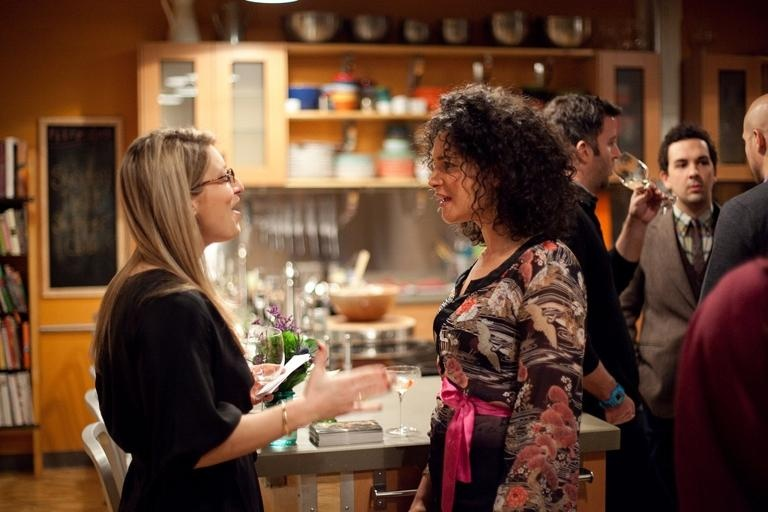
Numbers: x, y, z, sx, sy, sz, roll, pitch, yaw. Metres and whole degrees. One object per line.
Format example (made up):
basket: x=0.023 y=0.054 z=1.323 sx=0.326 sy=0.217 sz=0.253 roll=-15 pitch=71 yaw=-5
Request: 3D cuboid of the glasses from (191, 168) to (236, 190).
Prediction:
glasses: x=-0.580 y=-0.261 z=2.653 sx=0.095 sy=0.029 sz=0.094 roll=-16 pitch=4 yaw=-2

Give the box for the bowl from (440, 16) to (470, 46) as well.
bowl: x=0.512 y=-1.595 z=5.430 sx=0.186 sy=0.175 sz=0.178 roll=0 pitch=-41 yaw=0

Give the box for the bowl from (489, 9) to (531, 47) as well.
bowl: x=0.892 y=-1.610 z=5.406 sx=0.240 sy=0.182 sz=0.218 roll=-7 pitch=10 yaw=-35

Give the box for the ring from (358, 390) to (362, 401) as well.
ring: x=-0.075 y=0.461 z=2.513 sx=0.013 sy=0.029 sz=0.005 roll=-2 pitch=3 yaw=-3

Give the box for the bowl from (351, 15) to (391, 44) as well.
bowl: x=-0.095 y=-1.596 z=5.431 sx=0.200 sy=0.143 sz=0.210 roll=0 pitch=11 yaw=0

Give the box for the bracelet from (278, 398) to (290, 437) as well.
bracelet: x=-0.321 y=0.526 z=2.512 sx=0.034 sy=0.084 sz=0.062 roll=0 pitch=-14 yaw=-7

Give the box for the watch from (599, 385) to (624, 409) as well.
watch: x=0.916 y=0.574 z=3.081 sx=0.084 sy=0.096 sz=0.050 roll=-9 pitch=-15 yaw=-24

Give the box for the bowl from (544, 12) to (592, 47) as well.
bowl: x=1.296 y=-1.594 z=5.403 sx=0.220 sy=0.162 sz=0.241 roll=0 pitch=7 yaw=0

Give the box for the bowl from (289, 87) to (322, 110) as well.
bowl: x=-0.559 y=-1.100 z=5.451 sx=0.182 sy=0.133 sz=0.183 roll=1 pitch=5 yaw=0

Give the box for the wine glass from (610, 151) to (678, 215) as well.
wine glass: x=1.146 y=-0.335 z=3.513 sx=0.338 sy=0.154 sz=0.174 roll=28 pitch=6 yaw=7
